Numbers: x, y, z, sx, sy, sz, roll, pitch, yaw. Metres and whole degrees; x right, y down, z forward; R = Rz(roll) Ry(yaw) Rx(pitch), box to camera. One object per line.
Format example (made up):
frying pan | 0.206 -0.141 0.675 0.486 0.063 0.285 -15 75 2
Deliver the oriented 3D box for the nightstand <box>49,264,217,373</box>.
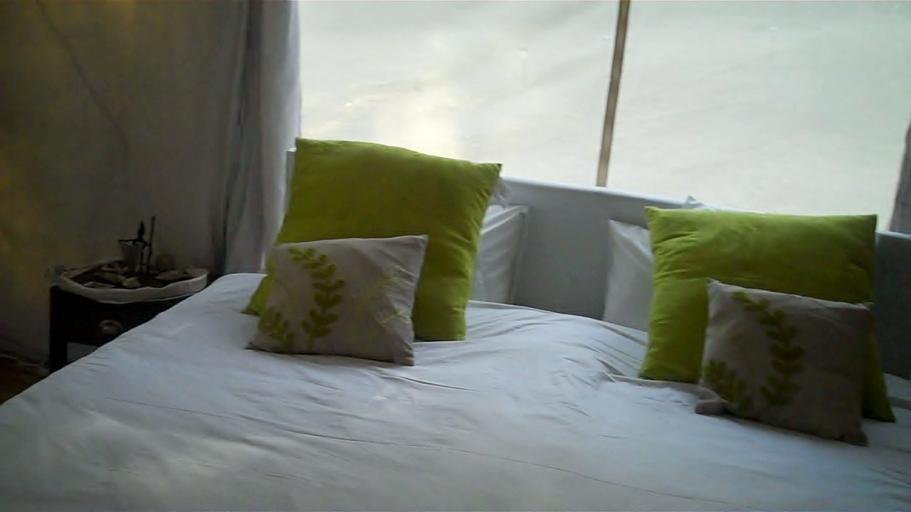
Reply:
nightstand | -1.590 0.296 3.160 0.632 0.565 0.557 3 17 -7

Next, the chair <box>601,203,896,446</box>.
chair | 1.162 0.293 2.401 0.903 0.615 0.393 6 13 19
